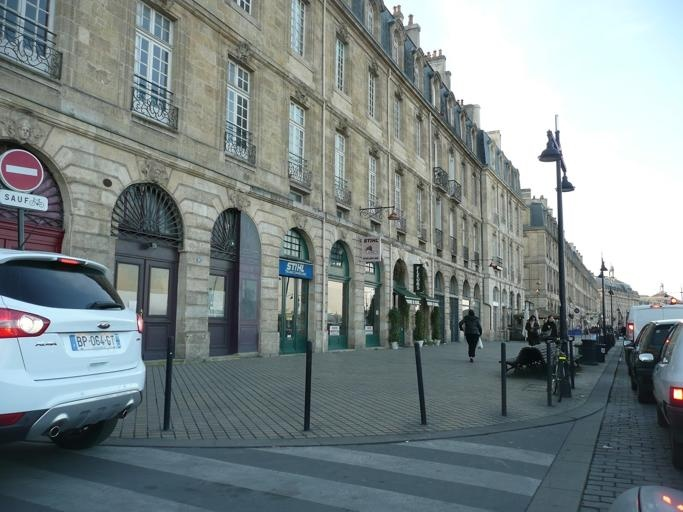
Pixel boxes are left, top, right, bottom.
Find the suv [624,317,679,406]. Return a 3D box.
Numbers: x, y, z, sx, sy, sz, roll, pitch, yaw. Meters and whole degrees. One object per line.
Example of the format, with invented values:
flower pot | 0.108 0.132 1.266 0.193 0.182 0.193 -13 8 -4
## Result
suv | 6.316 2.233 12.907 1.360 1.471 2.790 -1 0 20
